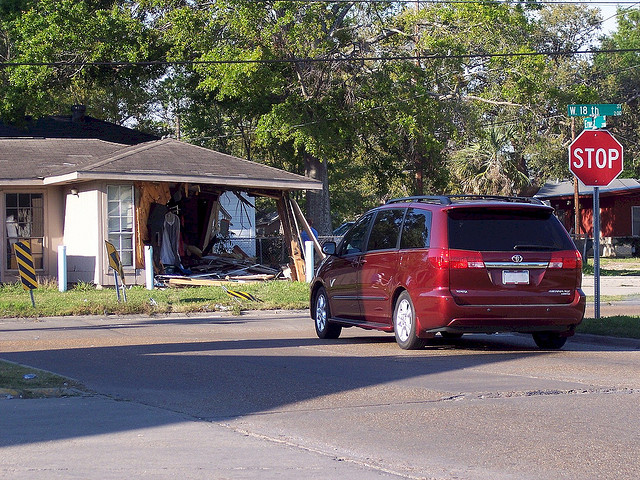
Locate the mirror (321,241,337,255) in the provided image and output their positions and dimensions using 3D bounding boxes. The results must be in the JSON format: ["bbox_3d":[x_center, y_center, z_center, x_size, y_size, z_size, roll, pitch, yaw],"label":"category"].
[{"bbox_3d":[0.187,0.135,20.111,0.399,0.367,0.066,2,11,-2],"label":"mirror"}]

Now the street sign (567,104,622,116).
[{"bbox_3d":[5.641,-2.685,21.192,0.730,0.169,0.112,6,17,34],"label":"street sign"}]

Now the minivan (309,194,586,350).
[{"bbox_3d":[2.031,0.509,19.220,3.191,2.327,6.029,0,0,-23],"label":"minivan"}]
